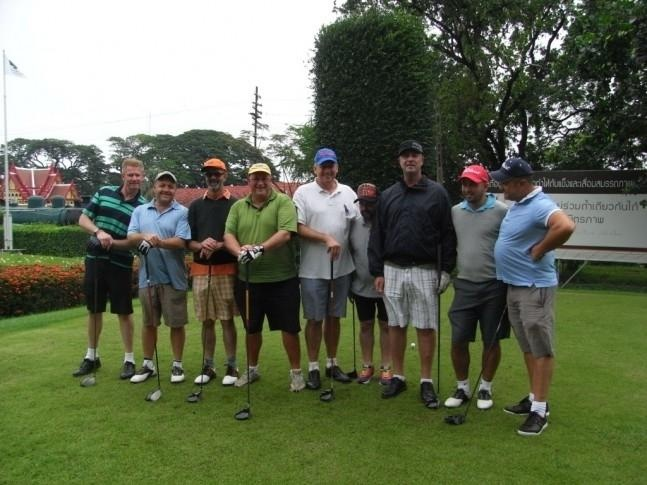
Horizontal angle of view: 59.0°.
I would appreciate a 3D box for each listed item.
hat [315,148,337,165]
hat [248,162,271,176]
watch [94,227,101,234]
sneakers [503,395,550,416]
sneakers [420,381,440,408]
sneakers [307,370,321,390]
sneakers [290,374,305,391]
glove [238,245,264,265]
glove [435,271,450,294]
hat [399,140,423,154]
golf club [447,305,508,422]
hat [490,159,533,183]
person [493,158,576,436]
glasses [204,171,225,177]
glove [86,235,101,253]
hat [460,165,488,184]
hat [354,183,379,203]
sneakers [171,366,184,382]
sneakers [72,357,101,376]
[{"bbox_3d":[0.020,-1.097,7.296,0.208,0.175,0.314,0,-4,-4],"label":"hat"},{"bbox_3d":[-0.787,-0.894,6.956,0.258,0.131,0.351,-1,9,-7],"label":"hat"},{"bbox_3d":[-2.895,-0.140,7.327,0.048,0.069,0.076,30,44,24],"label":"watch"},{"bbox_3d":[2.152,1.792,6.289,0.586,0.246,0.199,2,-7,-11],"label":"sneakers"},{"bbox_3d":[1.219,1.720,6.585,0.180,0.231,0.382,0,9,1],"label":"sneakers"},{"bbox_3d":[-0.123,1.686,7.091,0.182,0.179,0.246,0,9,-2],"label":"sneakers"},{"bbox_3d":[-0.314,1.695,6.951,0.170,0.178,0.163,-4,-1,18],"label":"sneakers"},{"bbox_3d":[-0.825,0.145,6.505,0.290,0.201,0.153,-1,9,-10],"label":"glove"},{"bbox_3d":[1.403,0.470,6.667,0.084,0.221,0.160,20,-18,-29],"label":"glove"},{"bbox_3d":[1.044,-1.138,6.893,0.266,0.170,0.461,1,9,5],"label":"hat"},{"bbox_3d":[1.775,1.418,6.607,0.243,1.315,0.231,3,-34,50],"label":"golf club"},{"bbox_3d":[2.025,-0.775,6.146,0.370,0.212,0.254,3,13,7],"label":"hat"},{"bbox_3d":[2.162,0.514,6.045,0.588,2.771,0.863,-4,10,-24],"label":"person"},{"bbox_3d":[-1.360,-0.874,7.200,0.237,0.076,0.138,-2,9,-12],"label":"glasses"},{"bbox_3d":[-2.920,0.035,7.260,0.150,0.241,0.296,-5,11,-32],"label":"glove"},{"bbox_3d":[1.742,-0.768,6.555,0.332,0.176,0.224,11,-3,-41],"label":"hat"},{"bbox_3d":[0.546,-0.579,7.385,0.188,0.266,0.264,-9,42,14],"label":"hat"},{"bbox_3d":[-1.847,1.640,7.231,0.174,0.195,0.285,-2,9,-15],"label":"sneakers"},{"bbox_3d":[-3.056,1.577,7.380,0.271,0.200,0.350,-1,9,-11],"label":"sneakers"}]
